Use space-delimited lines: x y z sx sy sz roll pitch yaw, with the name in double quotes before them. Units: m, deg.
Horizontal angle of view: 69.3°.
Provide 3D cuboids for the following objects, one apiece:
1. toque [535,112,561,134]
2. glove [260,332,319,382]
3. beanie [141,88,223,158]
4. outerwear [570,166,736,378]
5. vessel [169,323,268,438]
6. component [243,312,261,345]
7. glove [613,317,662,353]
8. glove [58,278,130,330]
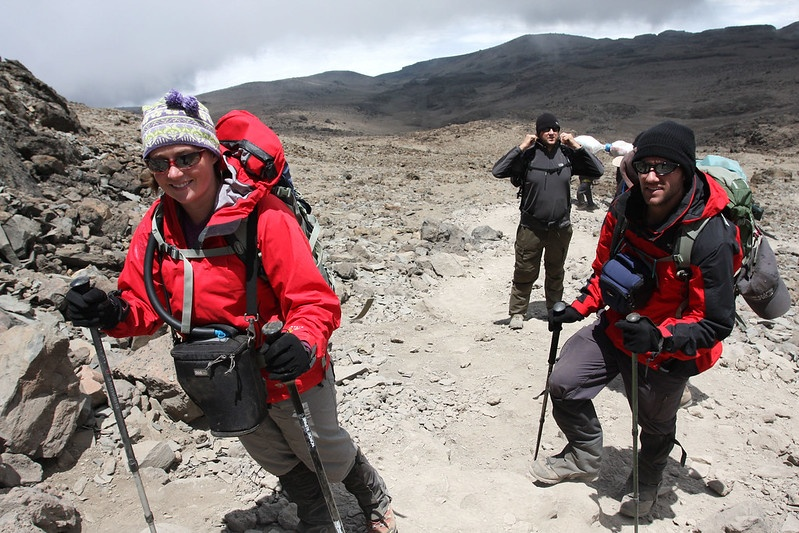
"toque" 2.127 -2.059 8.272 0.329 0.267 0.325 -2 1 -13
"glove" -0.730 0.656 4.082 0.308 0.320 0.371 10 -20 20
"beanie" -1.660 -1.138 4.437 0.554 0.479 0.543 -2 9 7
"outerwear" 2.258 0.068 4.958 1.145 1.730 0.800 1 16 27
"vessel" -1.309 0.829 4.238 0.605 0.775 0.312 -8 14 -11
"component" -1.082 0.453 4.239 0.158 0.198 0.065 2 -8 -11
"glove" 1.965 0.547 4.738 0.347 0.333 0.180 -7 14 -7
"glove" -2.346 0.284 4.388 0.455 0.206 0.355 36 51 28
